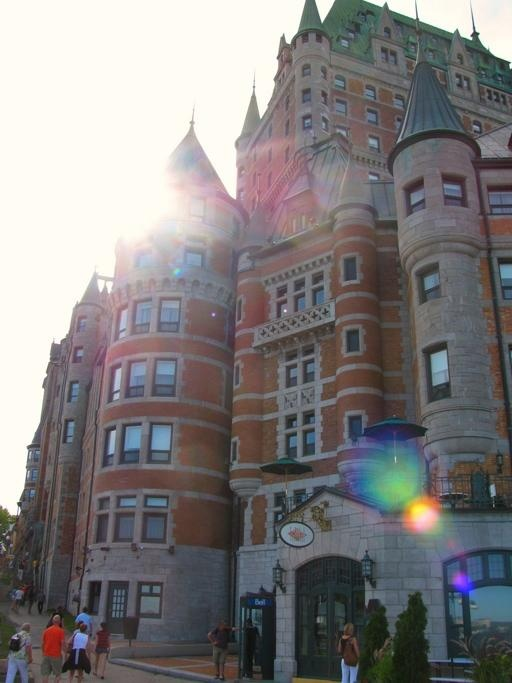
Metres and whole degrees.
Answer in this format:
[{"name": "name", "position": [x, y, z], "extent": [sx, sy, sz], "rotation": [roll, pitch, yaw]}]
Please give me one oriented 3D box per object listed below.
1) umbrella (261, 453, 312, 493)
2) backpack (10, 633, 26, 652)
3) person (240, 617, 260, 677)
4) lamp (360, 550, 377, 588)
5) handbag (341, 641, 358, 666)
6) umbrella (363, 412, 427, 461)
[{"name": "umbrella", "position": [1.538, 6.227, 28.145], "extent": [2.031, 1.676, 2.010], "rotation": [25, -39, -26]}, {"name": "backpack", "position": [-4.579, 5.717, 11.392], "extent": [0.202, 0.323, 0.356], "rotation": [16, -32, -25]}, {"name": "person", "position": [-0.178, 9.159, 17.978], "extent": [0.476, 1.611, 0.769], "rotation": [0, -29, 2]}, {"name": "lamp", "position": [2.828, 5.685, 15.066], "extent": [0.319, 0.887, 0.514], "rotation": [7, -29, -11]}, {"name": "handbag", "position": [1.805, 6.032, 11.629], "extent": [0.368, 0.411, 0.275], "rotation": [-12, -31, 22]}, {"name": "umbrella", "position": [4.730, 3.037, 20.389], "extent": [1.855, 1.146, 1.865], "rotation": [-12, -38, 24]}]
